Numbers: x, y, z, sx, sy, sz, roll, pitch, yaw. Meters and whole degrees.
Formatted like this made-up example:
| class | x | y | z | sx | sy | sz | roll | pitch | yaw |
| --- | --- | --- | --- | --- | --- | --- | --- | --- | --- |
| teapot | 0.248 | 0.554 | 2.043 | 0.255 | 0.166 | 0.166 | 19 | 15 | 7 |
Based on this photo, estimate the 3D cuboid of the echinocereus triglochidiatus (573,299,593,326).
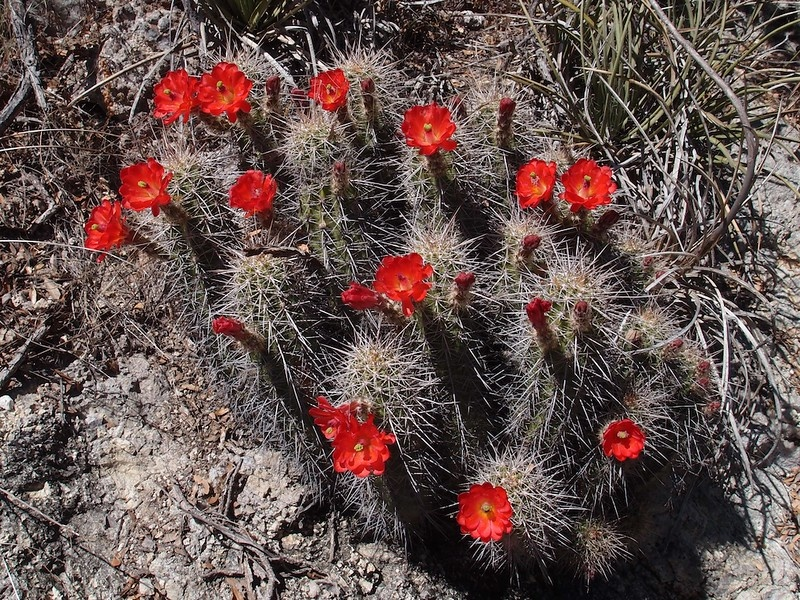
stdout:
| class | x | y | z | sx | sy | sz | roll | pitch | yaw |
| --- | --- | --- | --- | --- | --- | --- | --- | --- | --- |
| echinocereus triglochidiatus | 0.754 | 0.053 | 2.771 | 0.082 | 0.142 | 0.096 | 11 | 76 | 19 |

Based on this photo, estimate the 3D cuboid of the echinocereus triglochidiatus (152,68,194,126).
| class | x | y | z | sx | sy | sz | roll | pitch | yaw |
| --- | --- | --- | --- | --- | --- | --- | --- | --- | --- |
| echinocereus triglochidiatus | -1.026 | -0.939 | 3.143 | 0.122 | 0.216 | 0.252 | 28 | 62 | -27 |

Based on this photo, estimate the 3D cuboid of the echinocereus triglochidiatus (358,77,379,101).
| class | x | y | z | sx | sy | sz | roll | pitch | yaw |
| --- | --- | --- | --- | --- | --- | --- | --- | --- | --- |
| echinocereus triglochidiatus | -0.144 | -0.970 | 3.085 | 0.060 | 0.066 | 0.088 | 9 | 98 | -2 |

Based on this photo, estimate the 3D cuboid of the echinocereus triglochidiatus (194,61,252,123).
| class | x | y | z | sx | sy | sz | roll | pitch | yaw |
| --- | --- | --- | --- | --- | --- | --- | --- | --- | --- |
| echinocereus triglochidiatus | -0.798 | -0.957 | 3.064 | 0.226 | 0.178 | 0.267 | 2 | 94 | 12 |

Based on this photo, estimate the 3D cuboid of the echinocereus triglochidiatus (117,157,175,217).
| class | x | y | z | sx | sy | sz | roll | pitch | yaw |
| --- | --- | --- | --- | --- | --- | --- | --- | --- | --- |
| echinocereus triglochidiatus | -1.103 | -0.482 | 3.027 | 0.221 | 0.118 | 0.261 | 26 | 83 | 15 |

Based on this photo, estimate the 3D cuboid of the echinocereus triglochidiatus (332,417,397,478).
| class | x | y | z | sx | sy | sz | roll | pitch | yaw |
| --- | --- | --- | --- | --- | --- | --- | --- | --- | --- |
| echinocereus triglochidiatus | -0.151 | 0.586 | 2.709 | 0.233 | 0.100 | 0.249 | 18 | 79 | 5 |

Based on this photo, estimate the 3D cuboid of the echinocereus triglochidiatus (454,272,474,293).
| class | x | y | z | sx | sy | sz | roll | pitch | yaw |
| --- | --- | --- | --- | --- | --- | --- | --- | --- | --- |
| echinocereus triglochidiatus | 0.271 | -0.078 | 2.816 | 0.079 | 0.076 | 0.075 | 4 | 77 | 3 |

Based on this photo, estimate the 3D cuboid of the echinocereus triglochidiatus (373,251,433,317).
| class | x | y | z | sx | sy | sz | roll | pitch | yaw |
| --- | --- | --- | --- | --- | --- | --- | --- | --- | --- |
| echinocereus triglochidiatus | 0.019 | -0.094 | 2.743 | 0.224 | 0.080 | 0.221 | 37 | 81 | 9 |

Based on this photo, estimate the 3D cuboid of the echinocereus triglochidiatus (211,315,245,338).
| class | x | y | z | sx | sy | sz | roll | pitch | yaw |
| --- | --- | --- | --- | --- | --- | --- | --- | --- | --- |
| echinocereus triglochidiatus | -0.752 | 0.112 | 2.880 | 0.130 | 0.138 | 0.088 | 7 | 85 | 16 |

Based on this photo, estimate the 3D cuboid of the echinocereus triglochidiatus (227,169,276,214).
| class | x | y | z | sx | sy | sz | roll | pitch | yaw |
| --- | --- | --- | --- | --- | --- | --- | --- | --- | --- |
| echinocereus triglochidiatus | -0.638 | -0.474 | 2.934 | 0.183 | 0.125 | 0.161 | -5 | 77 | 1 |

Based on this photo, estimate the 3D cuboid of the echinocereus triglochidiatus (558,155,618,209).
| class | x | y | z | sx | sy | sz | roll | pitch | yaw |
| --- | --- | --- | --- | --- | --- | --- | --- | --- | --- |
| echinocereus triglochidiatus | 0.883 | -0.547 | 3.084 | 0.208 | 0.233 | 0.124 | 34 | 86 | 7 |

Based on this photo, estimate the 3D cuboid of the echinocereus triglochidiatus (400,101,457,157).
| class | x | y | z | sx | sy | sz | roll | pitch | yaw |
| --- | --- | --- | --- | --- | --- | --- | --- | --- | --- |
| echinocereus triglochidiatus | 0.126 | -0.744 | 3.046 | 0.228 | 0.232 | 0.237 | -7 | 77 | 0 |

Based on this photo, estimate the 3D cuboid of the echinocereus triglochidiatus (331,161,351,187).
| class | x | y | z | sx | sy | sz | roll | pitch | yaw |
| --- | --- | --- | --- | --- | --- | --- | --- | --- | --- |
| echinocereus triglochidiatus | -0.267 | -0.555 | 2.965 | 0.077 | 0.093 | 0.103 | -2 | 77 | 1 |
